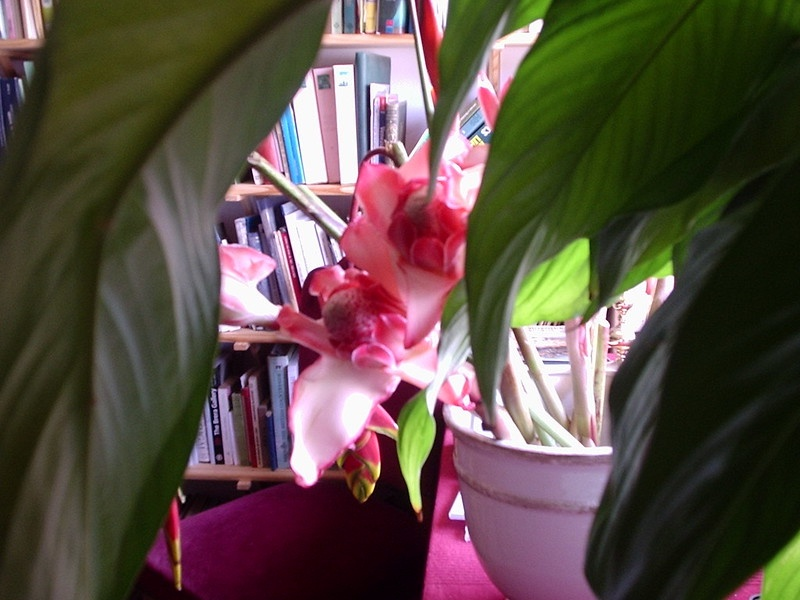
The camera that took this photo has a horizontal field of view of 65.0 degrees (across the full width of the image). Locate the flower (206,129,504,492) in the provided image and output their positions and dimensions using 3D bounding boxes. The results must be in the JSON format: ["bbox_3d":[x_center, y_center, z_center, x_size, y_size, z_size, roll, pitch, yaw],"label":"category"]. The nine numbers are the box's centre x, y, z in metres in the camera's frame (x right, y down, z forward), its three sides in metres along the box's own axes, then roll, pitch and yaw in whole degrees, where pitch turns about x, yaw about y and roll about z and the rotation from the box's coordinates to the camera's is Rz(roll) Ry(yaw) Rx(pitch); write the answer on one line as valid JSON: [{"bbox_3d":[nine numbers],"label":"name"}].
[{"bbox_3d":[-0.001,0.006,0.427,0.164,0.143,0.190,-2,28,25],"label":"flower"}]
